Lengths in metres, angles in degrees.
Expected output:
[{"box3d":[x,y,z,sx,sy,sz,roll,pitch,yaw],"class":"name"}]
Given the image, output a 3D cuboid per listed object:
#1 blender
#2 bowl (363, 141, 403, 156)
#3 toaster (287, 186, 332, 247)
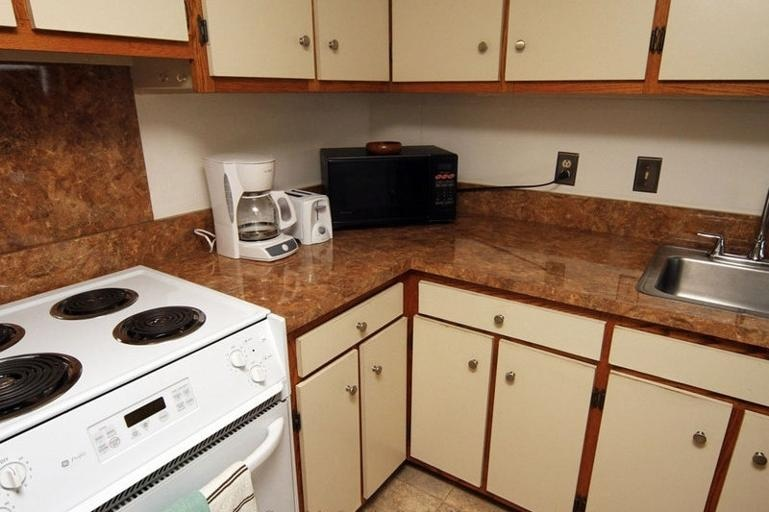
[{"box3d":[-0.544,-0.213,2.071,0.331,0.442,0.331,-13,25,-39],"class":"blender"},{"box3d":[-0.005,-0.504,2.332,0.162,0.055,0.153,0,19,0],"class":"bowl"},{"box3d":[-0.346,-0.172,2.239,0.140,0.188,0.249,-15,21,-35],"class":"toaster"}]
